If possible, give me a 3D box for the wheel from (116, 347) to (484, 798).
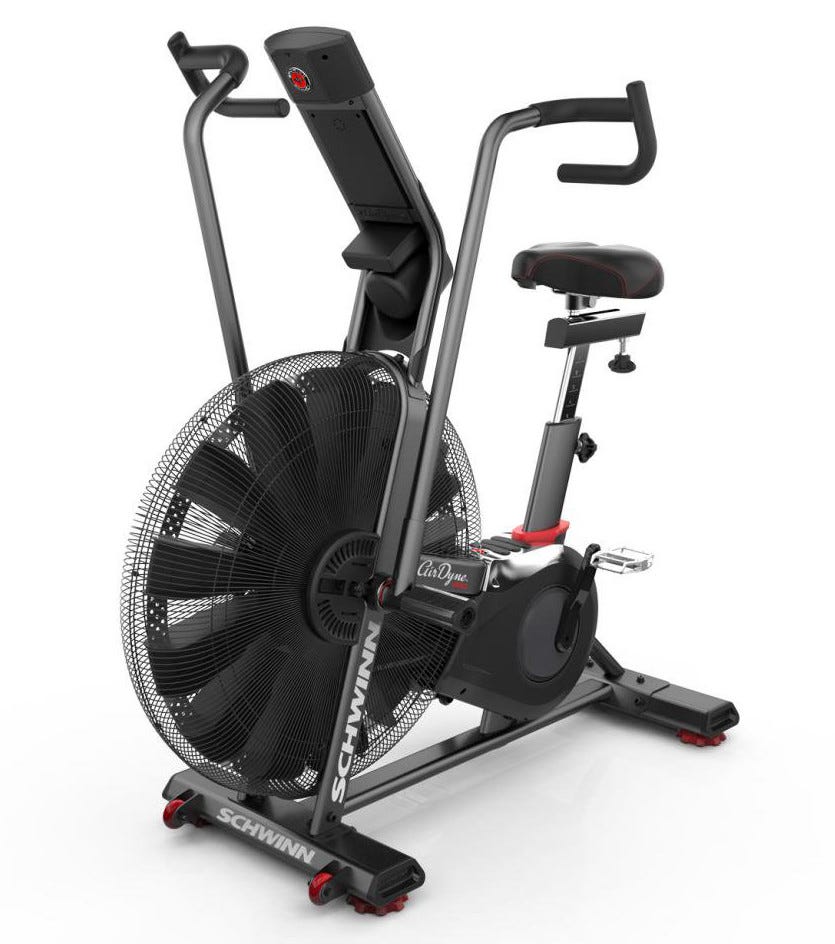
[{"bbox_3d":[-0.298,0.234,1.973,0.584,0.966,0.174,-6,11,-38],"label":"wheel"}]
